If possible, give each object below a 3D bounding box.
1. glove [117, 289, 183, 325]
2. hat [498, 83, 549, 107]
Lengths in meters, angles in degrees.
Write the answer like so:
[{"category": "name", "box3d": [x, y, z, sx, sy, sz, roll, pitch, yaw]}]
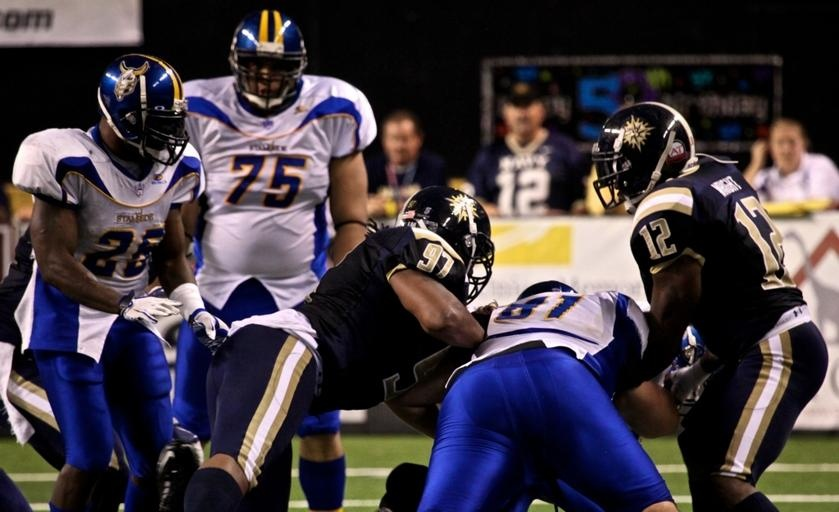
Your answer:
[{"category": "glove", "box3d": [-1.745, 0.354, 7.366, 0.392, 0.230, 0.263, 2, 11, -13]}, {"category": "hat", "box3d": [1.095, -1.716, 11.889, 0.542, 0.191, 0.554, -1, 1, 16]}]
